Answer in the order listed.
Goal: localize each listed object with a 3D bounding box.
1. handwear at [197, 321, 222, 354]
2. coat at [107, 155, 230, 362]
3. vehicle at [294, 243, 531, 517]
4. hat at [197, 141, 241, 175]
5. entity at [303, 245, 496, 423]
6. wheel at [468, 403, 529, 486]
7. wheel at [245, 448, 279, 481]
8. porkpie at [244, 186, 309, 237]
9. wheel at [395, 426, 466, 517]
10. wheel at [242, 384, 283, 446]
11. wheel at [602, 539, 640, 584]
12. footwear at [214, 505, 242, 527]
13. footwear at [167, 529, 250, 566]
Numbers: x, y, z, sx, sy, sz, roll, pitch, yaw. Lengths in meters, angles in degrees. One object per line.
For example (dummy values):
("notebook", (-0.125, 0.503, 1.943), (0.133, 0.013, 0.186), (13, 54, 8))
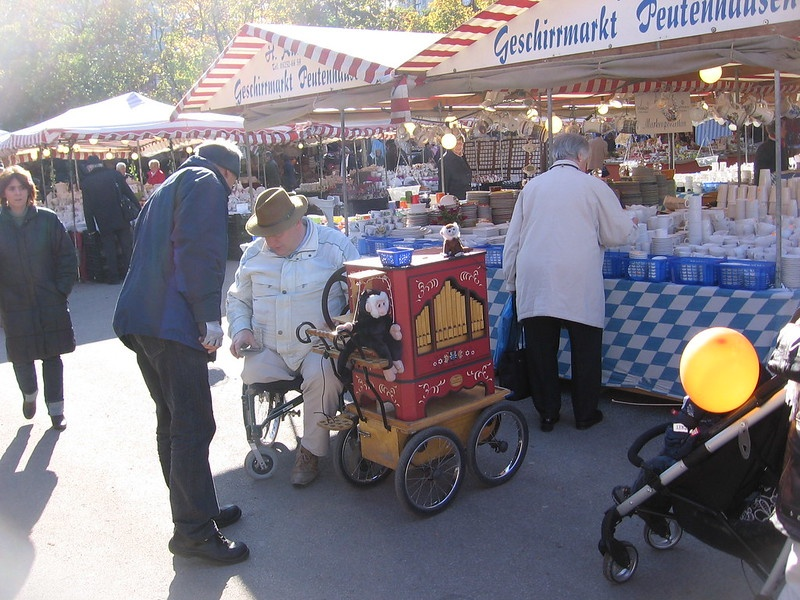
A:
("handwear", (-1.104, 0.207, 4.025), (0.117, 0.188, 0.068), (-12, 11, -9))
("coat", (-1.352, -0.253, 4.076), (0.701, 1.043, 0.477), (-5, 13, -9))
("vehicle", (0.454, 0.544, 4.788), (1.166, 1.670, 0.931), (-14, -7, 26))
("hat", (-1.105, -0.921, 4.280), (0.242, 0.214, 0.185), (-16, 33, -38))
("entity", (0.138, 0.105, 4.900), (1.020, 1.626, 1.047), (2, 8, 45))
("wheel", (0.668, 1.017, 4.766), (0.416, 0.480, 0.097), (-18, 17, -36))
("wheel", (-0.990, 1.176, 4.925), (0.184, 0.221, 0.075), (-10, 5, -16))
("porkpie", (-0.834, -0.600, 4.710), (0.432, 0.319, 0.347), (-11, 16, -28))
("wheel", (0.190, 1.108, 4.464), (0.441, 0.508, 0.086), (-17, 19, -40))
("wheel", (-1.009, 0.894, 5.224), (0.035, 0.491, 0.462), (-8, 3, 8))
("wheel", (1.182, 1.415, 3.715), (0.244, 0.286, 0.095), (-2, 12, -34))
("footwear", (-1.118, 1.401, 4.513), (0.091, 0.092, 0.197), (10, 21, 32))
("footwear", (-1.168, 1.480, 4.242), (0.454, 0.267, 0.208), (6, 5, -9))
